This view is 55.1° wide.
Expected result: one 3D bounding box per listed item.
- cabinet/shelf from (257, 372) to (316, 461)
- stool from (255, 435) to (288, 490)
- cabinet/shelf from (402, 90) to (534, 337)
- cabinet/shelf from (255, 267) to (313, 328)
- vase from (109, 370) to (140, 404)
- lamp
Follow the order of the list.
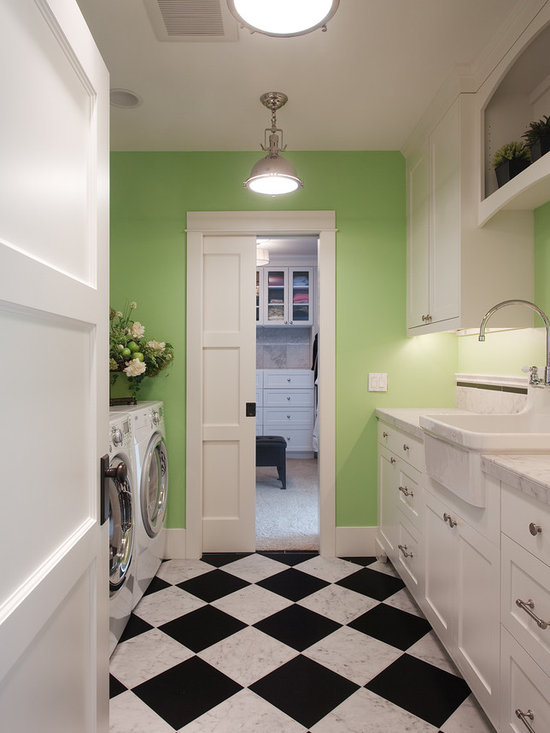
[{"bbox_3d":[0.125,0.583,5.841,0.807,1.306,0.453,0,-3,-2],"label":"cabinet/shelf"},{"bbox_3d":[-0.028,0.837,4.532,0.250,0.418,0.430,0,1,0],"label":"stool"},{"bbox_3d":[0.816,-0.654,2.198,0.350,1.028,0.983,0,-1,4],"label":"cabinet/shelf"},{"bbox_3d":[0.093,-0.795,6.016,0.766,0.874,0.354,0,0,-2],"label":"cabinet/shelf"},{"bbox_3d":[-0.737,0.112,2.599,0.135,0.155,0.127,0,0,1],"label":"vase"},{"bbox_3d":[-0.004,-0.960,2.252,0.186,0.345,0.198,-1,6,5],"label":"lamp"}]
